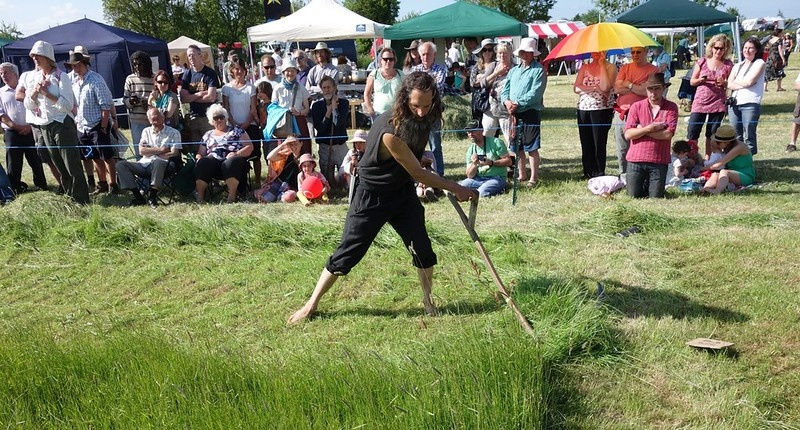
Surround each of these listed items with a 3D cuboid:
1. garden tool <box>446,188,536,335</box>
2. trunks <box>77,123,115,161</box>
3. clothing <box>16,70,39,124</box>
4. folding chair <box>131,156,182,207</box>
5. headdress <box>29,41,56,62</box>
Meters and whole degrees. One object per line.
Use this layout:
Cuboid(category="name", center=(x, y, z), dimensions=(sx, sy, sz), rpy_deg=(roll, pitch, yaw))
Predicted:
Cuboid(category="garden tool", center=(1.139, 0.452, 11.136), dimensions=(0.659, 3.114, 0.162), rpy_deg=(-16, -33, -13))
Cuboid(category="trunks", center=(-6.274, -1.554, 15.956), dimensions=(0.642, 0.791, 0.504), rpy_deg=(-11, 0, 18))
Cuboid(category="clothing", center=(-7.324, -2.305, 15.184), dimensions=(0.414, 0.990, 0.924), rpy_deg=(-5, -1, -33))
Cuboid(category="folding chair", center=(-4.881, -0.655, 15.583), dimensions=(0.680, 1.075, 1.002), rpy_deg=(2, -1, -18))
Cuboid(category="headdress", center=(-6.731, -3.131, 14.627), dimensions=(0.447, 0.292, 0.550), rpy_deg=(-3, -3, -6))
